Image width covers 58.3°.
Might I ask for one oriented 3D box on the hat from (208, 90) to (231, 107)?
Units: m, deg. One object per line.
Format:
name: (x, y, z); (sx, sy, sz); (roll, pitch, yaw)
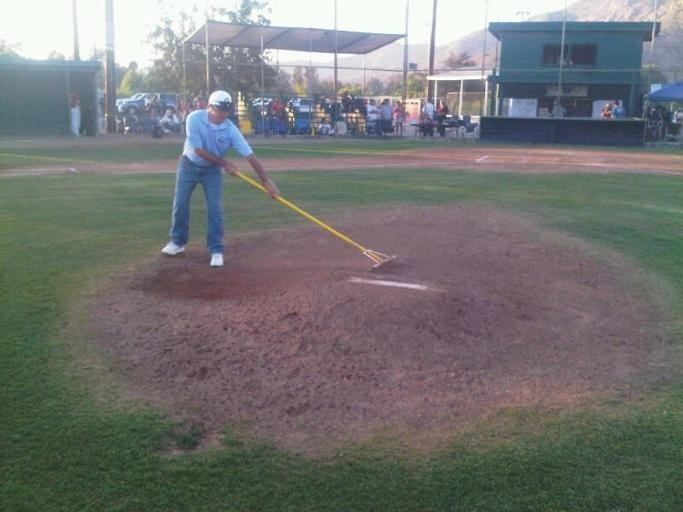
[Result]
hat: (-1.246, -1.597, 6.264); (0.179, 0.145, 0.259); (-3, 19, -15)

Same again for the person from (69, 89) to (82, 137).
person: (-11.775, -6.242, 26.955); (0.490, 1.768, 1.003); (-6, 15, -23)

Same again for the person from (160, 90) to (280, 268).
person: (-1.423, -0.857, 6.567); (1.222, 1.761, 0.655); (7, 15, 25)

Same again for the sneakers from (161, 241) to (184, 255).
sneakers: (-1.878, -0.092, 6.832); (0.116, 0.131, 0.281); (3, 1, 25)
